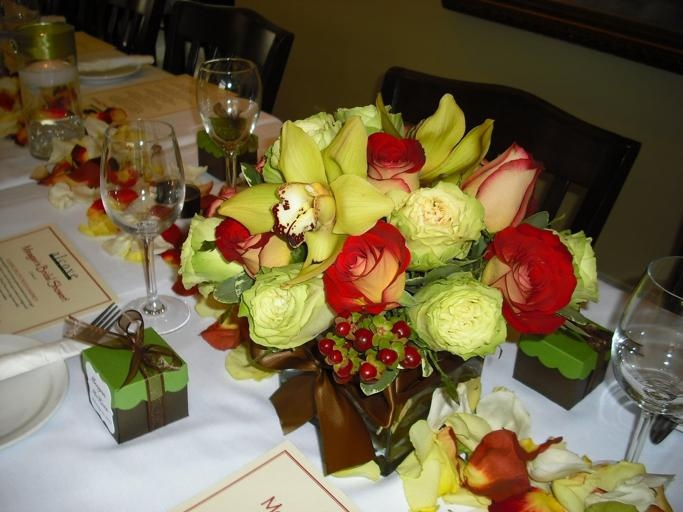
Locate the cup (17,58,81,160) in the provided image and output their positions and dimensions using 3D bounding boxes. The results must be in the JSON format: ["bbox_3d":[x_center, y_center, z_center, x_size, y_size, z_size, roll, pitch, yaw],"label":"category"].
[{"bbox_3d":[-0.668,-0.336,1.206,0.120,0.215,0.093,-8,35,-31],"label":"cup"}]

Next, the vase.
[{"bbox_3d":[0.029,0.153,0.675,0.172,0.199,0.128,4,20,0],"label":"vase"}]
